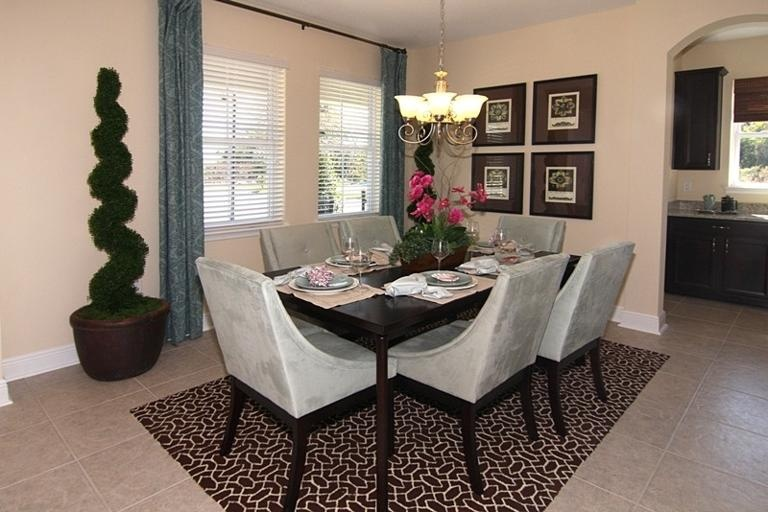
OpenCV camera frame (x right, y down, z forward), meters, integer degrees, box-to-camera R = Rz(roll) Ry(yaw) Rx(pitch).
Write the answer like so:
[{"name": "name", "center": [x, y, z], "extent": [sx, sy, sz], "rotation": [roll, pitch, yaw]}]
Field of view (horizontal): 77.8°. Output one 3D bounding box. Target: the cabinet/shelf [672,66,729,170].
[{"name": "cabinet/shelf", "center": [4.020, -1.747, 6.045], "extent": [0.247, 1.335, 0.670], "rotation": [-20, 23, -16]}]

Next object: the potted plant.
[{"name": "potted plant", "center": [-2.309, -0.238, 4.098], "extent": [0.901, 2.533, 0.862], "rotation": [-3, 19, -27]}]

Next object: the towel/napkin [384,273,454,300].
[{"name": "towel/napkin", "center": [0.214, 0.222, 3.190], "extent": [0.227, 0.065, 0.229], "rotation": [8, 11, 40]}]

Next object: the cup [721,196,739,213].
[{"name": "cup", "center": [4.343, -0.644, 6.007], "extent": [0.171, 0.184, 0.151], "rotation": [3, 14, 20]}]

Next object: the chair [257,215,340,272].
[{"name": "chair", "center": [-0.753, -0.101, 4.203], "extent": [0.748, 0.474, 0.429], "rotation": [-12, 13, -40]}]

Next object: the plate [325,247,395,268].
[{"name": "plate", "center": [-0.138, 0.026, 3.627], "extent": [0.259, 0.056, 0.260], "rotation": [9, 14, 41]}]

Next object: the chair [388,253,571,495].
[{"name": "chair", "center": [0.585, 0.718, 3.146], "extent": [1.056, 1.429, 0.688], "rotation": [3, 15, 22]}]

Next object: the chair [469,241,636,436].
[{"name": "chair", "center": [1.295, 0.462, 4.050], "extent": [1.301, 1.713, 1.288], "rotation": [-13, 15, -42]}]

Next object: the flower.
[{"name": "flower", "center": [0.395, -0.219, 4.009], "extent": [0.542, 0.695, 0.781], "rotation": [-14, -13, 18]}]

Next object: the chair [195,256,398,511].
[{"name": "chair", "center": [-0.528, 0.877, 3.083], "extent": [1.144, 1.734, 1.119], "rotation": [-15, 22, -42]}]

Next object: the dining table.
[{"name": "dining table", "center": [0.488, 0.673, 4.168], "extent": [2.655, 0.873, 1.734], "rotation": [-6, 7, -38]}]

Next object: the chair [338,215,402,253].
[{"name": "chair", "center": [-0.154, -0.242, 4.608], "extent": [0.416, 0.527, 0.431], "rotation": [-6, 8, -39]}]

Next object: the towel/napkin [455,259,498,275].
[{"name": "towel/napkin", "center": [0.727, 0.086, 3.697], "extent": [0.177, 0.065, 0.173], "rotation": [-6, 8, -42]}]

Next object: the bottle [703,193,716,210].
[{"name": "bottle", "center": [4.258, -0.704, 6.256], "extent": [0.144, 0.196, 0.290], "rotation": [7, 15, 32]}]
